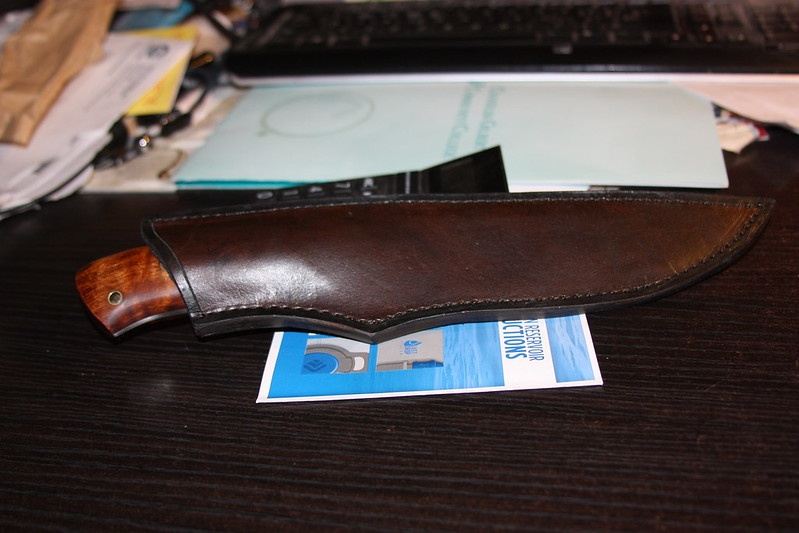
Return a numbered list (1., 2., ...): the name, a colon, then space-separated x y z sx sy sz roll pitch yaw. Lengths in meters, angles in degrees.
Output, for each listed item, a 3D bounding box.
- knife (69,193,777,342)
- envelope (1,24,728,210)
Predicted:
1. knife: 0.026 -0.010 0.706 0.746 0.051 0.118 -4 79 3
2. envelope: 0.060 -0.175 0.837 0.665 0.031 0.195 2 56 7
